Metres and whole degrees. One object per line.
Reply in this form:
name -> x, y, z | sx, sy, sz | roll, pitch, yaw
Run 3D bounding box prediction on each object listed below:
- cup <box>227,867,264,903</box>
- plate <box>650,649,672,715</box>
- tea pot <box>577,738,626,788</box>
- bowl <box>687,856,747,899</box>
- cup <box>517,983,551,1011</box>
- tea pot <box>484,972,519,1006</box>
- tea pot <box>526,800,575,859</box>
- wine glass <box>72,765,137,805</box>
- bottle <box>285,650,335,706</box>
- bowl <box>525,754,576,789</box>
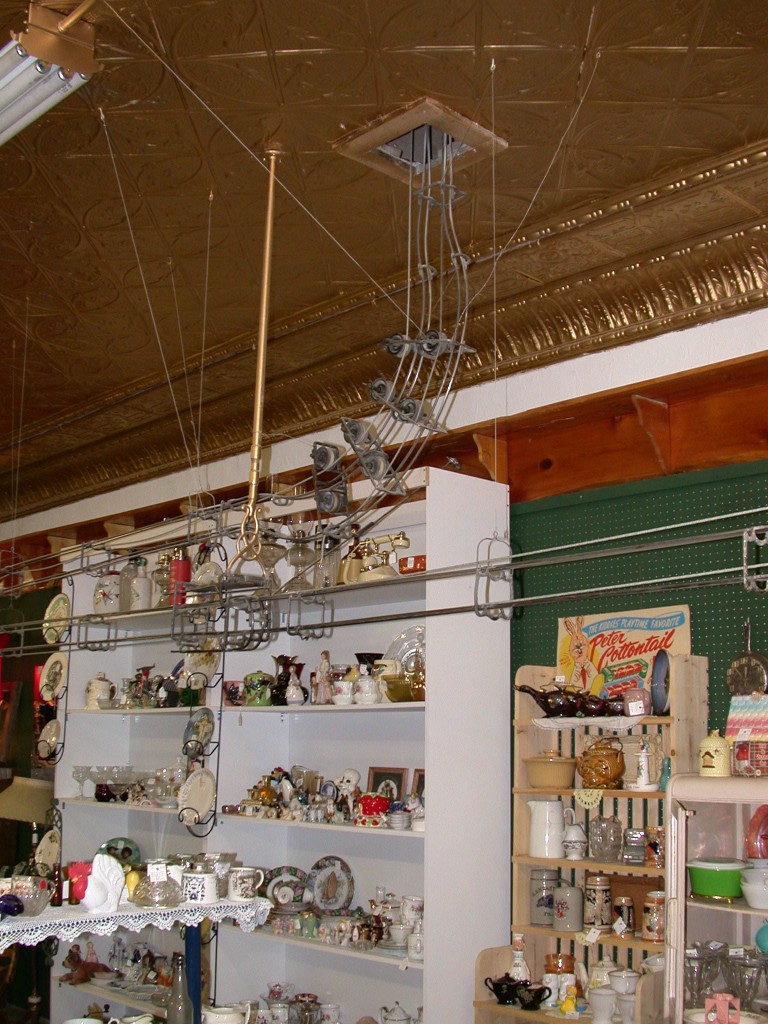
cup -> -0.500, 1.318, 3.216 | 0.093, 0.094, 0.137 | -8, -18, 34
plate -> 0.880, 0.541, 2.872 | 0.034, 0.203, 0.094 | 8, -15, -32
tea pot -> 0.719, 0.837, 3.004 | 0.149, 0.154, 0.128 | -2, -12, 9
bowl -> 0.900, 0.977, 2.427 | 0.146, 0.080, 0.140 | 1, -7, 0
cup -> 0.491, 1.618, 3.027 | 0.095, 0.068, 0.089 | 0, -12, 0
tea pot -> 0.397, 1.624, 3.076 | 0.072, 0.086, 0.114 | 4, -13, -21
tea pot -> 0.632, 1.118, 3.199 | 0.194, 0.175, 0.145 | 1, -7, 41
wine glass -> -1.513, 1.438, 4.870 | 0.262, 0.148, 0.254 | 13, -18, -37
bottle -> -0.330, 0.745, 4.026 | 0.244, 0.214, 0.094 | -10, -24, 34
bowl -> 0.599, 0.922, 3.202 | 0.143, 0.086, 0.135 | 1, -5, 0
